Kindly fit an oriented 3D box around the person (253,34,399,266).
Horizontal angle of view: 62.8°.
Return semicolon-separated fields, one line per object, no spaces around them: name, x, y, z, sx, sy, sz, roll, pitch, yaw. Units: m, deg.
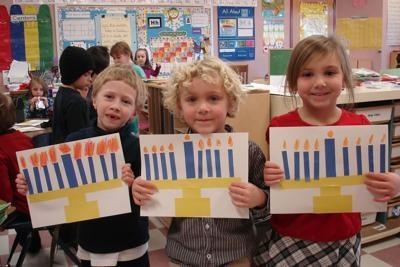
person;0.589;0.096;1.550;0.609;1.126;0.366;1;9;10

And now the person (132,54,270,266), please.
person;0.003;0.139;1.512;0.608;0.961;0.294;1;9;14
